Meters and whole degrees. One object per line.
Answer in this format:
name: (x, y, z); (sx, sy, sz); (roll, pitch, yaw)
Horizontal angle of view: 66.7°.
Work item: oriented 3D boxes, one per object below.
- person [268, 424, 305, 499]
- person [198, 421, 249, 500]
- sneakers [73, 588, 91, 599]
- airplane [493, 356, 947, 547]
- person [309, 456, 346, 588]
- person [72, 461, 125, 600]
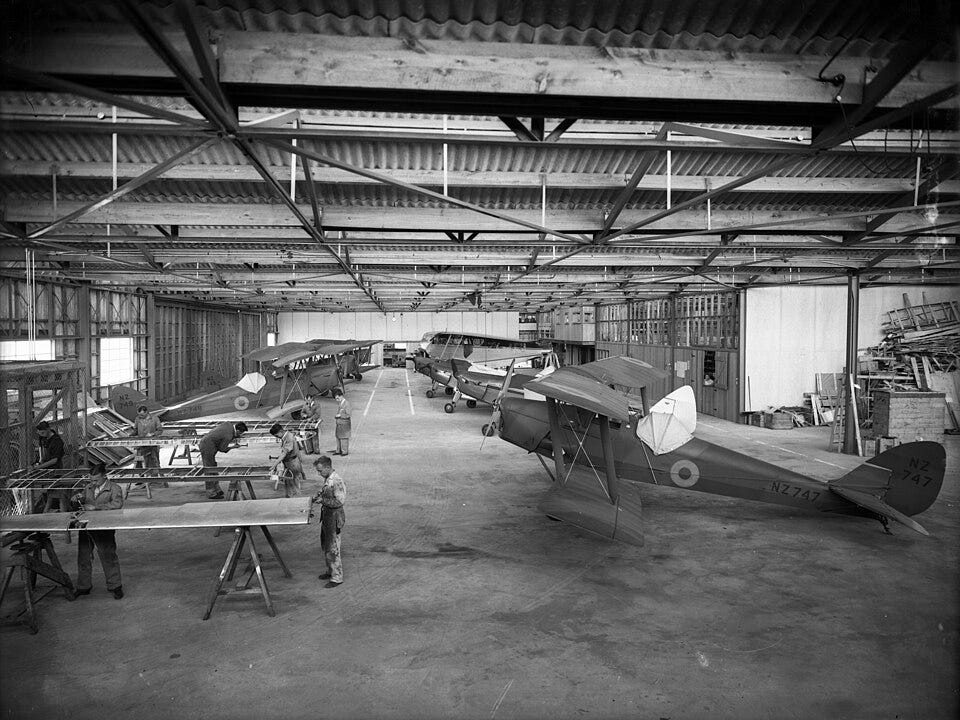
person: (-3.508, 1.838, 13.205); (0.555, 1.339, 0.684); (2, 38, -5)
person: (-4.608, 1.873, 13.139); (0.784, 1.499, 1.591); (-6, 15, -21)
sneakers: (-5.301, 3.089, 9.689); (0.177, 0.079, 0.115); (-4, 15, -18)
airplane: (3.609, 1.098, 13.527); (6.568, 2.607, 6.954); (-1, 14, -5)
person: (-2.061, 2.208, 10.036); (0.398, 1.683, 0.639); (-3, 15, -12)
person: (-5.199, 2.345, 9.908); (0.678, 1.522, 1.301); (-7, 16, -26)
